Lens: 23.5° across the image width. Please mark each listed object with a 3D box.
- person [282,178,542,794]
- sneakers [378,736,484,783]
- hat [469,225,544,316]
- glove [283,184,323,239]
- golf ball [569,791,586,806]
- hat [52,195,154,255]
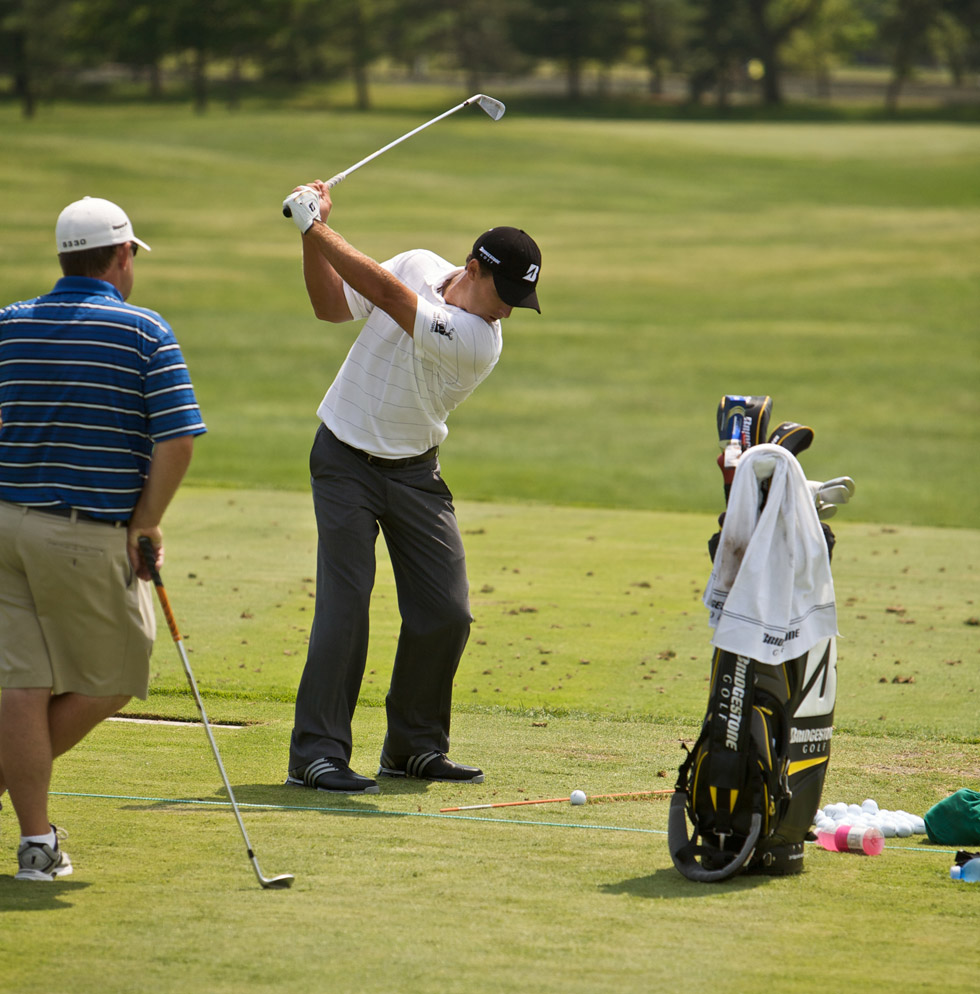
[{"bbox_3d":[-0.304,-0.027,8.102,0.832,2.039,0.762,-1,12,-21],"label":"person"},{"bbox_3d":[-0.208,0.927,8.198,0.369,0.109,0.127,-1,-5,18],"label":"sneakers"},{"bbox_3d":[0.100,-0.792,7.999,0.211,0.177,0.303,-16,64,-50],"label":"hat"},{"bbox_3d":[-0.639,-0.976,8.003,0.135,0.167,0.077,1,-10,-37],"label":"glove"},{"bbox_3d":[0.300,0.991,7.767,0.038,0.037,0.048,2,16,0],"label":"golf ball"},{"bbox_3d":[-1.162,-0.809,7.088,0.232,0.202,0.212,-3,4,34],"label":"hat"}]
